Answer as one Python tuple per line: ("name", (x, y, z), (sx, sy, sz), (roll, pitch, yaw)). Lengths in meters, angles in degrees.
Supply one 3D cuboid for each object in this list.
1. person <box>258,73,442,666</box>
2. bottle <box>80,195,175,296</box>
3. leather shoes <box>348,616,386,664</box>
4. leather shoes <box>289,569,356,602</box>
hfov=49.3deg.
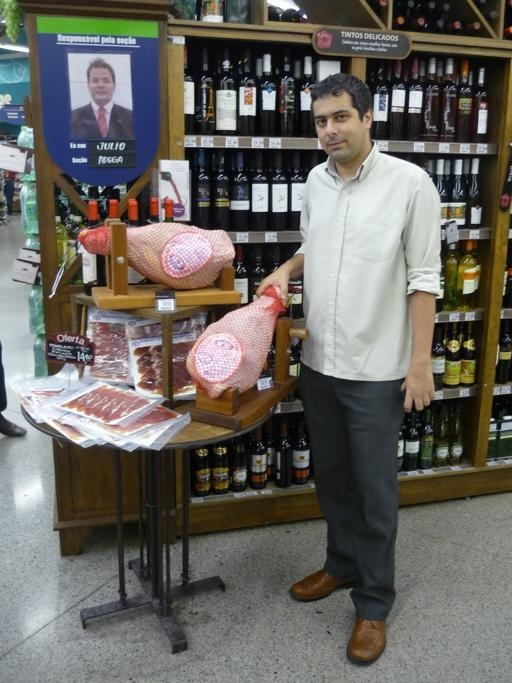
("person", (0.355, 0.107, 1.851), (0.401, 1.807, 0.410), (1, 7, 2))
("bottle", (-0.443, -0.311, 1.725), (0.265, 0.273, 0.326), (4, 8, 25))
("leather shoes", (0.351, 0.970, 1.807), (0.066, 0.076, 0.184), (0, 5, 17))
("leather shoes", (0.272, 0.928, 2.210), (0.264, 0.114, 0.092), (-4, 20, -23))
